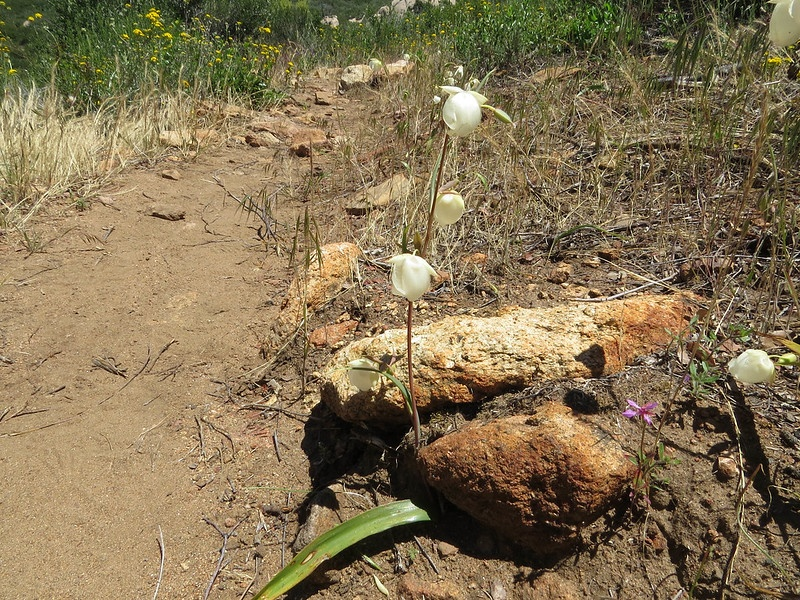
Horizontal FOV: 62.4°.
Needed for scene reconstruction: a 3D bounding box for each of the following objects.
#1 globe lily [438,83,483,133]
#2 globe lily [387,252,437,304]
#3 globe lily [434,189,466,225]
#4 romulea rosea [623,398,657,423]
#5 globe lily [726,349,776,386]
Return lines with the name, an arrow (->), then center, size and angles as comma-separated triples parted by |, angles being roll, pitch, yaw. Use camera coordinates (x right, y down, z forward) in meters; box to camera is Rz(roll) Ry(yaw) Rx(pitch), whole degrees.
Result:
globe lily -> 0.260, -0.798, 2.881 | 0.194, 0.200, 0.191 | 8, 5, 5
globe lily -> 0.054, -0.094, 2.942 | 0.204, 0.167, 0.238 | -10, 67, 25
globe lily -> 0.223, -0.425, 3.031 | 0.133, 0.175, 0.141 | 9, 26, 14
romulea rosea -> 1.105, 0.516, 3.056 | 0.113, 0.049, 0.121 | -27, 34, -25
globe lily -> 1.594, 0.314, 2.991 | 0.136, 0.195, 0.121 | 13, 49, 7
